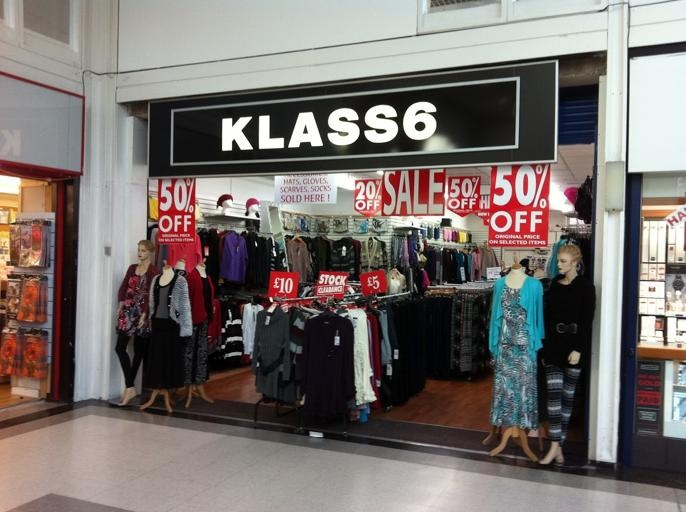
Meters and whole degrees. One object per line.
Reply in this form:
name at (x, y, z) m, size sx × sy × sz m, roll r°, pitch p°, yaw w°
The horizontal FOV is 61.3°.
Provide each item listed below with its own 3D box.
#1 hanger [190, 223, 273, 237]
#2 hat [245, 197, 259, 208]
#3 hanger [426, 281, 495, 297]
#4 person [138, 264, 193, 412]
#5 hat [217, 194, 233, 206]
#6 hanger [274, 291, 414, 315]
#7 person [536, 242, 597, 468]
hanger at (-1.813, -0.400, 9.691) m, size 1.405 × 0.200 × 0.725 m, roll -1°, pitch 4°, yaw -27°
hat at (-1.617, -0.919, 10.046) m, size 0.199 × 0.161 × 0.152 m, roll -26°, pitch 1°, yaw 25°
hanger at (2.028, 0.581, 9.448) m, size 1.160 × 0.181 × 0.913 m, roll -1°, pitch 4°, yaw -29°
person at (-2.055, 0.849, 6.809) m, size 0.539 × 1.442 × 0.214 m, roll 1°, pitch 3°, yaw -1°
hat at (-1.942, -0.889, 9.441) m, size 0.222 × 0.227 × 0.358 m, roll 0°, pitch 4°, yaw -18°
hanger at (0.019, 0.555, 7.031) m, size 0.887 × 0.181 × 1.957 m, roll 3°, pitch 4°, yaw 30°
person at (2.180, 0.968, 5.627) m, size 0.465 × 2.130 × 0.311 m, roll 2°, pitch 3°, yaw 21°
